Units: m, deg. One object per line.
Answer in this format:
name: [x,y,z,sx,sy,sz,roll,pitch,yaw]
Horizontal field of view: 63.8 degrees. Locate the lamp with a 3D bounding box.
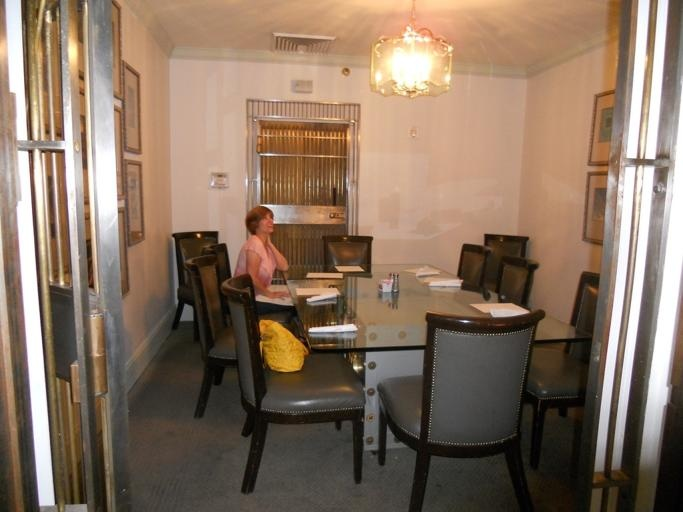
lamp: [0.446,-1.250,3.525,0.500,0.419,0.286,1,11,5]

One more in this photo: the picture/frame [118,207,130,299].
picture/frame: [-1.285,-0.033,3.242,0.031,0.791,0.571,1,3,-20]

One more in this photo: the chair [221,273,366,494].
chair: [-0.190,0.571,3.182,0.913,1.283,0.885,-3,10,-11]
